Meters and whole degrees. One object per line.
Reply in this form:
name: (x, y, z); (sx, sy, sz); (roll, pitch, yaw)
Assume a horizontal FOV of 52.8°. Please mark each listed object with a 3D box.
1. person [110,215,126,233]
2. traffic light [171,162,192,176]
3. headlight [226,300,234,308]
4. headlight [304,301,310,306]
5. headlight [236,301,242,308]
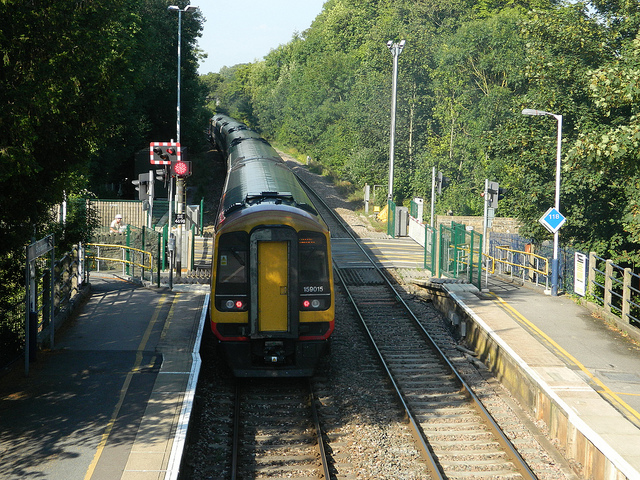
person: (-8.439, -0.670, 27.032); (0.567, 0.765, 1.774); (-3, 3, -19)
traffic light: (-4.882, -2.520, 22.947); (0.665, 0.456, 0.508); (-3, 3, -20)
headlight: (-2.063, 1.485, 15.037); (0.149, 0.170, 0.047); (-1, 1, -8)
headlight: (-0.285, 1.486, 15.183); (0.104, 0.119, 0.026); (1, 3, -7)
headlight: (-1.863, 1.490, 15.042); (0.120, 0.137, 0.030); (1, 3, -10)
